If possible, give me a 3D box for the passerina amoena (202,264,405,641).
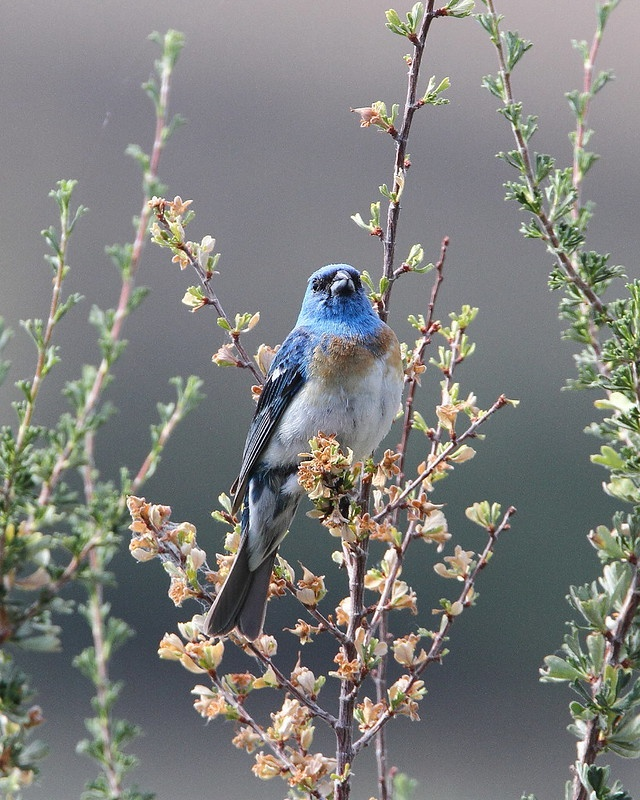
[{"bbox_3d":[-0.024,0.099,3.071,0.553,1.195,0.370,-11,-46,23],"label":"passerina amoena"}]
